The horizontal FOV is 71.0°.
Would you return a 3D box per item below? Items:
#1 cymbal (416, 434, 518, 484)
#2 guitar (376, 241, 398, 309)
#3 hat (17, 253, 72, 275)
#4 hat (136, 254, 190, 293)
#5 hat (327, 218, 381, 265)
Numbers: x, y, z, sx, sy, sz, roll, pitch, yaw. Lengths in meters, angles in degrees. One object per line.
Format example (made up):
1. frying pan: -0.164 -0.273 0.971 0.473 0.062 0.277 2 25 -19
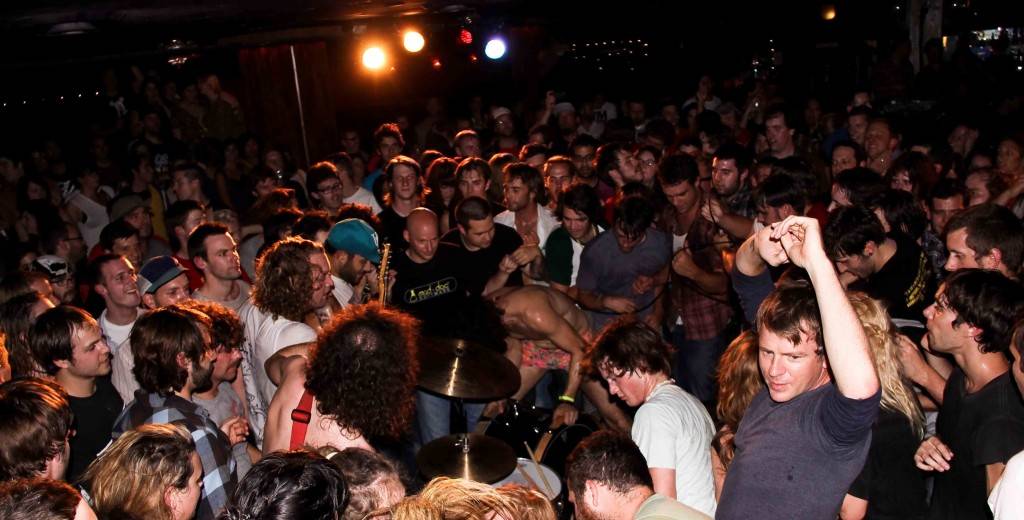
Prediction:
1. cymbal: -0.476 1.938 7.116 0.912 0.386 0.601 -3 5 25
2. guitar: -1.461 0.153 8.213 0.182 0.712 1.127 -8 5 -10
3. hat: -5.758 0.059 8.834 0.416 0.111 0.382 8 1 10
4. hat: -3.993 0.140 8.165 0.516 0.249 0.353 -28 7 8
5. hat: -1.864 -0.246 8.420 0.693 0.316 0.445 14 13 -21
